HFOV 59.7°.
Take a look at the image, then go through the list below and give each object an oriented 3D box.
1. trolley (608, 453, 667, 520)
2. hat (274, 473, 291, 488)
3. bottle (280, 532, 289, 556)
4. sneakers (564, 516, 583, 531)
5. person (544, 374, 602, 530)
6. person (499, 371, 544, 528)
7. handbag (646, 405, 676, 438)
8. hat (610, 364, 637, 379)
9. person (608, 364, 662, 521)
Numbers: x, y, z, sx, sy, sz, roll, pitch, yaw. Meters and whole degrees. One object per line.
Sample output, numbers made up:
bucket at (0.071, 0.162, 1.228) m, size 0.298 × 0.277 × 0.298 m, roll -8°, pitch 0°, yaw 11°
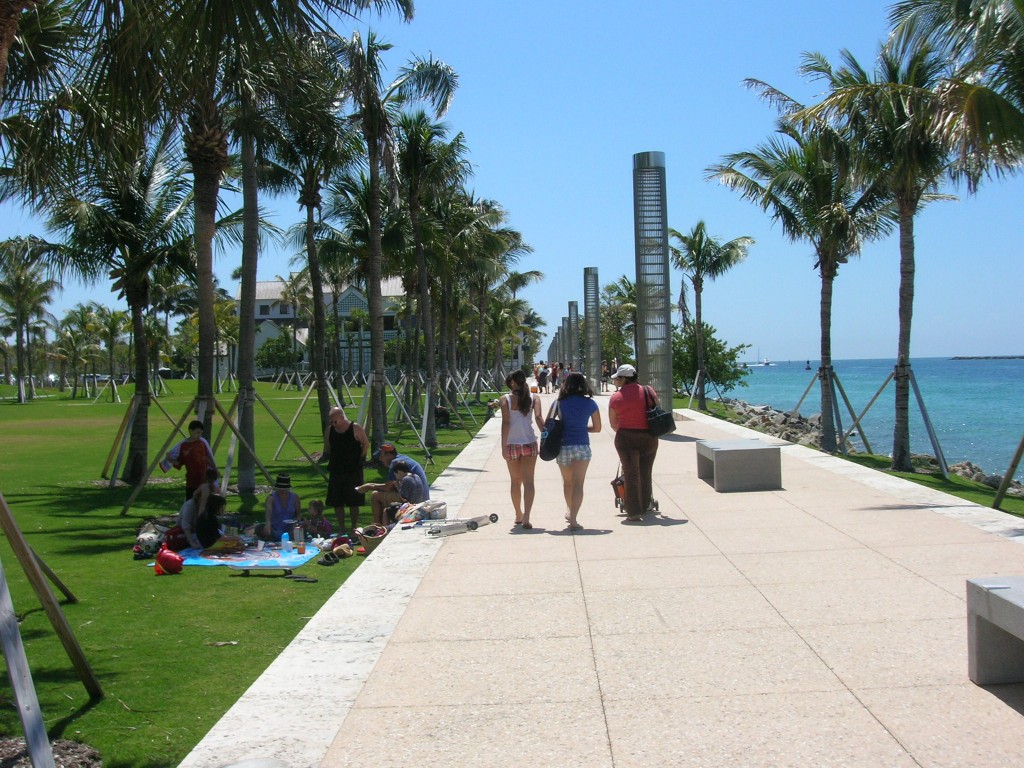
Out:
trolley at (1.788, 1.581, 13.085) m, size 0.641 × 0.987 × 0.674 m, roll 2°, pitch -6°, yaw -3°
hat at (-3.049, 1.287, 11.862) m, size 0.226 × 0.110 × 0.287 m, roll 4°, pitch 2°, yaw -2°
bottle at (-2.912, 2.038, 11.320) m, size 0.126 × 0.347 × 0.133 m, roll -1°, pitch -4°, yaw 0°
sneakers at (0.805, 1.832, 11.799) m, size 0.245 × 0.272 × 0.116 m, roll -7°, pitch 9°, yaw -29°
person at (0.799, 0.867, 12.198) m, size 0.751 × 2.096 × 1.569 m, roll -1°, pitch 5°, yaw 5°
person at (0.109, 0.882, 11.787) m, size 0.567 × 2.147 × 0.738 m, roll 0°, pitch 5°, yaw 16°
handbag at (2.039, 0.497, 12.077) m, size 0.341 × 0.402 × 0.628 m, roll 1°, pitch 5°, yaw 30°
hat at (1.486, -0.189, 12.112) m, size 0.334 × 0.194 × 0.259 m, roll 3°, pitch -2°, yaw 8°
person at (1.642, 0.796, 12.168) m, size 0.609 × 2.108 × 0.727 m, roll -1°, pitch 5°, yaw 7°
